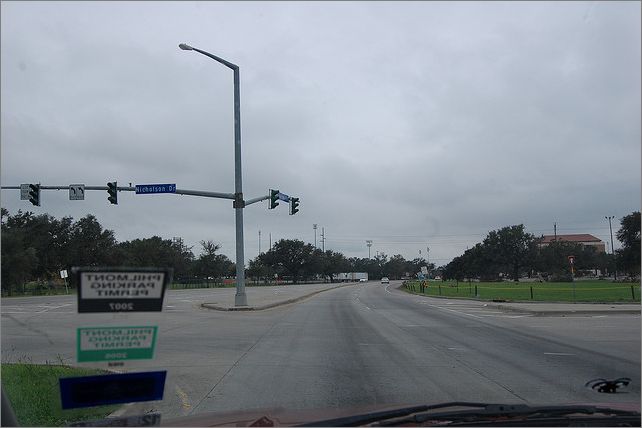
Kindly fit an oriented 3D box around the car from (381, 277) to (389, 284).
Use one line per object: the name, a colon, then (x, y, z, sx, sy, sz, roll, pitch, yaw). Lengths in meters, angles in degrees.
car: (16.516, 17.297, 136.996, 1.722, 1.413, 2.911, -1, -13, 6)
